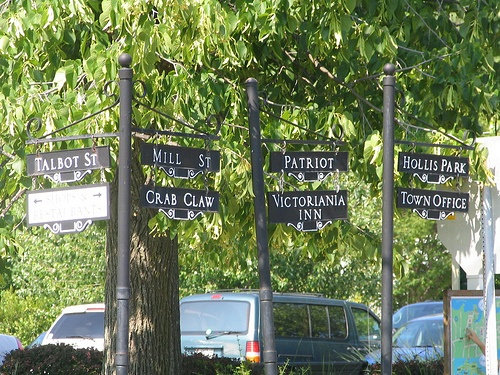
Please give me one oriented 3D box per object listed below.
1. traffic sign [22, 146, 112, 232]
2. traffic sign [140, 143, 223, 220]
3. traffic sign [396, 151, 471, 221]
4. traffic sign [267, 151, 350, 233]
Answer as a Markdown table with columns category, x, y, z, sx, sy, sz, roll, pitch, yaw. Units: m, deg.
| category | x | y | z | sx | sy | sz | roll | pitch | yaw |
| --- | --- | --- | --- | --- | --- | --- | --- | --- | --- |
| traffic sign | -2.374 | -0.022 | 16.636 | 0.933 | 1.065 | 0.068 | -4 | -17 | 7 |
| traffic sign | -0.865 | -0.092 | 16.873 | 0.851 | 0.873 | 0.202 | 5 | -1 | -26 |
| traffic sign | 2.536 | -0.044 | 17.642 | 0.794 | 0.797 | 0.071 | 4 | 7 | -16 |
| traffic sign | 0.763 | 0.062 | 17.409 | 0.973 | 1.127 | 0.076 | 1 | -3 | -12 |
